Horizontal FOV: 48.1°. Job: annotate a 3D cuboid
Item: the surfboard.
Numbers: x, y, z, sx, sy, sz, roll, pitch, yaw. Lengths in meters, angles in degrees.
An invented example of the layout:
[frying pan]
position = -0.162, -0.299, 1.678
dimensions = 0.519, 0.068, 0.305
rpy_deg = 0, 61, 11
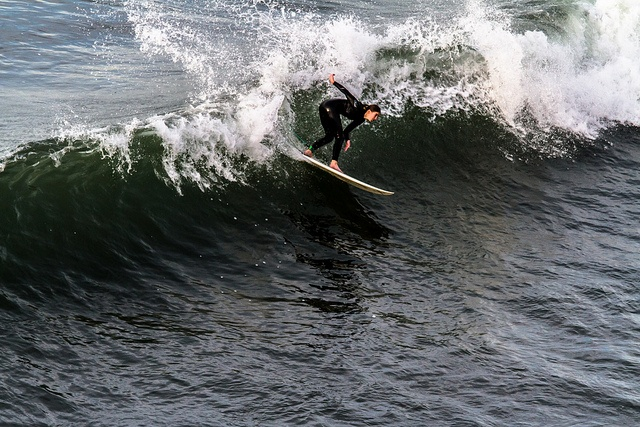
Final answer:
[surfboard]
position = 0.339, -1.001, 15.420
dimensions = 2.605, 0.273, 0.243
rpy_deg = 28, 56, 6

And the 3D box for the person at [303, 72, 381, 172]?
[person]
position = 0.424, -1.860, 14.720
dimensions = 1.297, 2.000, 0.673
rpy_deg = 26, 33, 32
